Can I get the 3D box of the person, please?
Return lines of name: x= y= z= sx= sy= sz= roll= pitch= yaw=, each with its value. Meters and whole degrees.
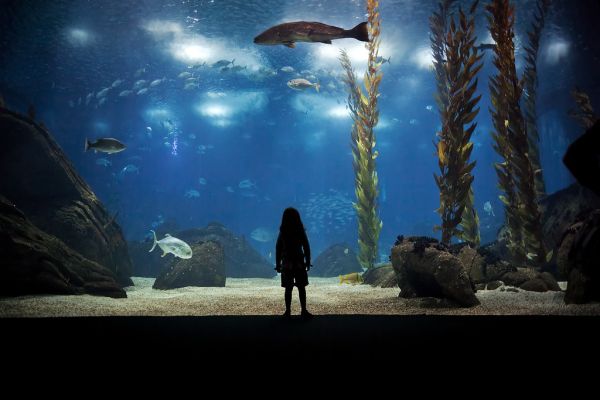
person: x=-0.283 y=1.828 z=12.936 sx=1.211 sy=3.070 sz=0.694 roll=0 pitch=-5 yaw=-9

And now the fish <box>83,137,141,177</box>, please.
fish: x=-7.510 y=-2.180 z=17.286 sx=1.333 sy=0.788 sz=2.065 roll=-1 pitch=0 yaw=-20
